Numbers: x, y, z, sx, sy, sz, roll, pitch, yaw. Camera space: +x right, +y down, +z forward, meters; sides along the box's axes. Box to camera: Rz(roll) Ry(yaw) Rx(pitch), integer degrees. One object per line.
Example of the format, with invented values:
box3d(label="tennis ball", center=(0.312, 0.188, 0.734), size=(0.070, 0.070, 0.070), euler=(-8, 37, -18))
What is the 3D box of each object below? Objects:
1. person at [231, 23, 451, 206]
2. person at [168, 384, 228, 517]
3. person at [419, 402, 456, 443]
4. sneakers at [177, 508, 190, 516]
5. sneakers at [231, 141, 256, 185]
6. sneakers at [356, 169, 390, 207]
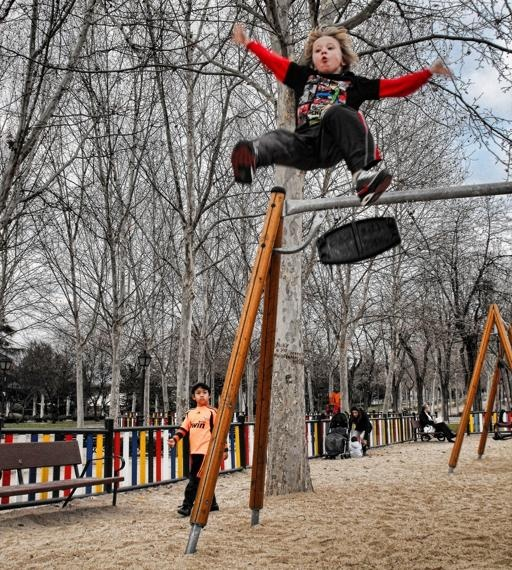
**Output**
box3d(label="person", center=(0.422, -1.145, 3.167), size=(1.143, 1.426, 0.758), euler=(0, -9, -5))
box3d(label="person", center=(-0.730, 1.917, 6.065), size=(0.494, 1.500, 0.702), euler=(0, -9, -6))
box3d(label="person", center=(6.666, 5.258, 19.490), size=(0.855, 1.196, 1.812), euler=(0, -11, -2))
box3d(label="sneakers", center=(-0.842, 2.610, 5.984), size=(0.139, 0.112, 0.220), euler=(1, -12, -9))
box3d(label="sneakers", center=(-0.075, -0.650, 2.757), size=(0.075, 0.296, 0.111), euler=(0, 22, 3))
box3d(label="sneakers", center=(0.658, -0.556, 2.957), size=(0.206, 0.170, 0.343), euler=(-3, -12, 13))
